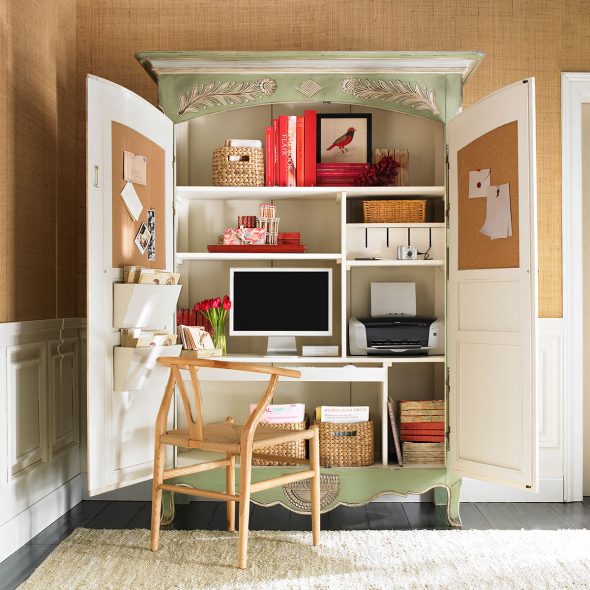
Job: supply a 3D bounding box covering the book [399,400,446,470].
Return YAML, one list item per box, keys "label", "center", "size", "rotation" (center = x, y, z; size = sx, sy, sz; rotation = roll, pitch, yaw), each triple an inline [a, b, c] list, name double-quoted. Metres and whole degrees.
- label: "book"
  center: [0.623, 0.743, 3.286]
  size: [0.356, 0.372, 0.261]
  rotation: [-1, -14, 2]

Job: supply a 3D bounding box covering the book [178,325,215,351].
- label: "book"
  center: [-0.519, 0.225, 3.122]
  size: [0.042, 0.145, 0.143]
  rotation: [-21, -18, 31]

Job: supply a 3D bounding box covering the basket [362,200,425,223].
- label: "basket"
  center: [0.543, -0.433, 3.322]
  size: [0.235, 0.093, 0.156]
  rotation: [2, 3, 1]

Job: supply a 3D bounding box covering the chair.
- label: "chair"
  center: [-0.292, 0.713, 2.731]
  size: [0.662, 0.891, 0.602]
  rotation: [-4, -6, 35]

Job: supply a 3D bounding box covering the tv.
- label: "tv"
  center: [-0.080, 0.078, 3.362]
  size: [0.463, 0.380, 0.139]
  rotation: [0, -4, 0]

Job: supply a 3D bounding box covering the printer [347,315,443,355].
- label: "printer"
  center: [0.560, 0.223, 3.361]
  size: [0.526, 0.237, 0.418]
  rotation: [-1, -2, 6]

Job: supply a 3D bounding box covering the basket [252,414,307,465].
- label: "basket"
  center: [-0.056, 0.716, 3.061]
  size: [0.265, 0.210, 0.271]
  rotation: [1, -4, -5]

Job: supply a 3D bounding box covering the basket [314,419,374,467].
- label: "basket"
  center: [0.312, 0.788, 3.314]
  size: [0.402, 0.214, 0.396]
  rotation: [2, -8, -40]

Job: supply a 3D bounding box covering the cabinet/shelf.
- label: "cabinet/shelf"
  center: [0.075, 0.006, 3.214]
  size: [1.962, 2.436, 1.316]
  rotation: [-1, 1, -2]

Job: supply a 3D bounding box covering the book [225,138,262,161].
- label: "book"
  center: [-0.288, -0.788, 3.303]
  size: [0.145, 0.143, 0.034]
  rotation: [2, -1, -5]

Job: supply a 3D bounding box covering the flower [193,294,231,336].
- label: "flower"
  center: [-0.442, 0.090, 3.343]
  size: [0.173, 0.246, 0.246]
  rotation: [1, 6, 9]

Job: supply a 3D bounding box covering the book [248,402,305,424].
- label: "book"
  center: [-0.092, 0.599, 3.066]
  size: [0.249, 0.159, 0.029]
  rotation: [1, -8, -3]

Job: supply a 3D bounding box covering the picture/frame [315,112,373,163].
- label: "picture/frame"
  center: [0.274, -0.891, 3.466]
  size: [0.300, 0.309, 0.023]
  rotation: [1, -10, 1]

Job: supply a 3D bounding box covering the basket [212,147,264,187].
- label: "basket"
  center: [-0.317, -0.713, 3.437]
  size: [0.321, 0.221, 0.336]
  rotation: [3, 7, 15]

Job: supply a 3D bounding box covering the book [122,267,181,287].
- label: "book"
  center: [-0.698, -0.096, 2.909]
  size: [0.168, 0.090, 0.246]
  rotation: [0, 0, 25]

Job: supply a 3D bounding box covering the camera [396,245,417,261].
- label: "camera"
  center: [0.595, -0.225, 3.231]
  size: [0.117, 0.092, 0.066]
  rotation: [0, -7, -1]
